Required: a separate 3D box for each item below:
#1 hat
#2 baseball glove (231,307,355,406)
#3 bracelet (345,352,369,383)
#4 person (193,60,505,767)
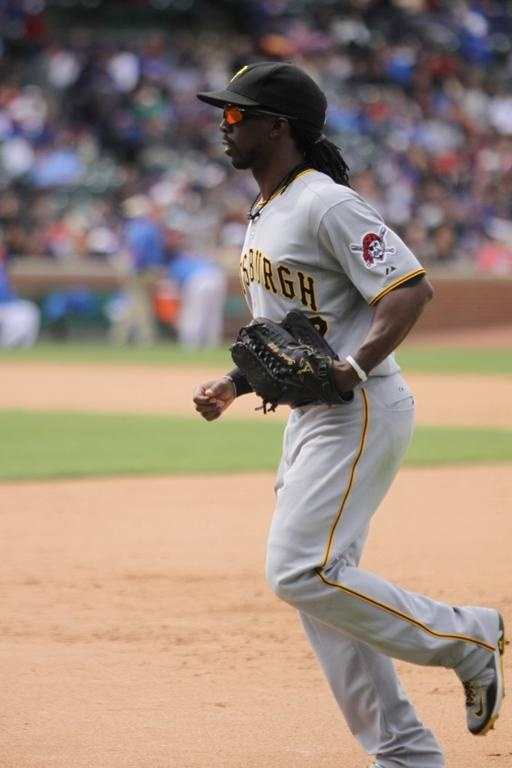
[{"bbox_3d":[0.019,-0.773,2.746,0.319,0.140,0.193,6,11,-10],"label":"hat"},{"bbox_3d":[0.127,-0.069,2.672,0.310,0.217,0.149,16,37,30],"label":"baseball glove"},{"bbox_3d":[0.258,-0.036,2.523,0.042,0.066,0.068,-40,57,-21],"label":"bracelet"},{"bbox_3d":[0.210,0.077,2.703,0.615,1.877,0.756,-4,10,-35],"label":"person"}]
